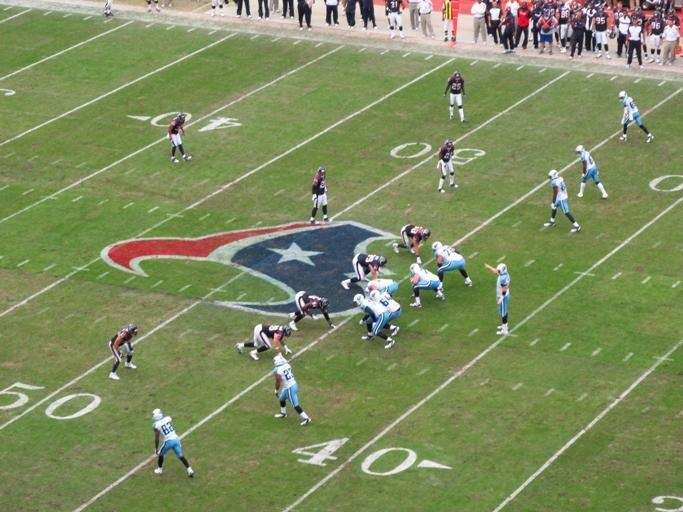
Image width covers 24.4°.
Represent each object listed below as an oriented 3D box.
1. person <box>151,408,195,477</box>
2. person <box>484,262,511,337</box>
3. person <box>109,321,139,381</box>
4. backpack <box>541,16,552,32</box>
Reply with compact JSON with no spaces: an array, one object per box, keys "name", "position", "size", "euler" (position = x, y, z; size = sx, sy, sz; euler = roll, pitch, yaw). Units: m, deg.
[{"name":"person","position":[-4.425,5.028,41.825],"size":[1.085,1.638,1.661],"euler":[-12,10,-36]},{"name":"person","position":[4.696,1.276,46.278],"size":[0.798,1.906,0.875],"euler":[-2,20,-5]},{"name":"person","position":[-6.233,2.746,45.623],"size":[0.973,1.526,0.728],"euler":[-8,17,-33]},{"name":"backpack","position":[8.251,-9.357,63.481],"size":[0.578,0.673,0.387],"euler":[5,51,20]}]
